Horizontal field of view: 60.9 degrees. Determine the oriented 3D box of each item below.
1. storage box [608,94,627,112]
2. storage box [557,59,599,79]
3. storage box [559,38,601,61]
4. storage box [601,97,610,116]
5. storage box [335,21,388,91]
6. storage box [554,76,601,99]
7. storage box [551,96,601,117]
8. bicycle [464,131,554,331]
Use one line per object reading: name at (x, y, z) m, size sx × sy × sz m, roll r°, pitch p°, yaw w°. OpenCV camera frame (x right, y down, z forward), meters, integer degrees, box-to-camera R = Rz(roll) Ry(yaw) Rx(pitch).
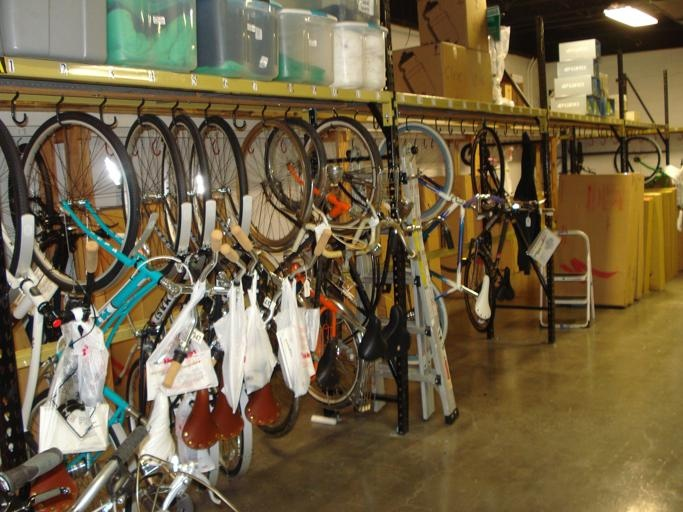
storage box at (4.055, -2.225, 8.477) m, size 0.198 × 0.264 × 1.117 m, roll 0°, pitch 13°, yaw 25°
storage box at (2.962, -2.322, 7.219) m, size 0.509 × 0.240 × 0.446 m, roll -3°, pitch 11°, yaw 14°
storage box at (2.984, -2.550, 7.251) m, size 0.470 × 0.246 × 0.288 m, roll -2°, pitch 10°, yaw 17°
storage box at (3.489, -1.966, 7.642) m, size 0.088 × 0.238 × 0.677 m, roll 1°, pitch 13°, yaw 30°
storage box at (0.193, -1.228, 3.603) m, size 0.417 × 0.380 × 0.259 m, roll 15°, pitch 19°, yaw 29°
storage box at (2.885, -2.073, 7.099) m, size 0.505 × 0.241 × 0.276 m, roll -4°, pitch 10°, yaw 10°
storage box at (2.886, -1.833, 7.119) m, size 0.572 × 0.254 × 0.377 m, roll -3°, pitch 11°, yaw 13°
bicycle at (1.460, -0.410, 5.673) m, size 0.834 × 2.246 × 1.195 m, roll 0°, pitch 6°, yaw 2°
